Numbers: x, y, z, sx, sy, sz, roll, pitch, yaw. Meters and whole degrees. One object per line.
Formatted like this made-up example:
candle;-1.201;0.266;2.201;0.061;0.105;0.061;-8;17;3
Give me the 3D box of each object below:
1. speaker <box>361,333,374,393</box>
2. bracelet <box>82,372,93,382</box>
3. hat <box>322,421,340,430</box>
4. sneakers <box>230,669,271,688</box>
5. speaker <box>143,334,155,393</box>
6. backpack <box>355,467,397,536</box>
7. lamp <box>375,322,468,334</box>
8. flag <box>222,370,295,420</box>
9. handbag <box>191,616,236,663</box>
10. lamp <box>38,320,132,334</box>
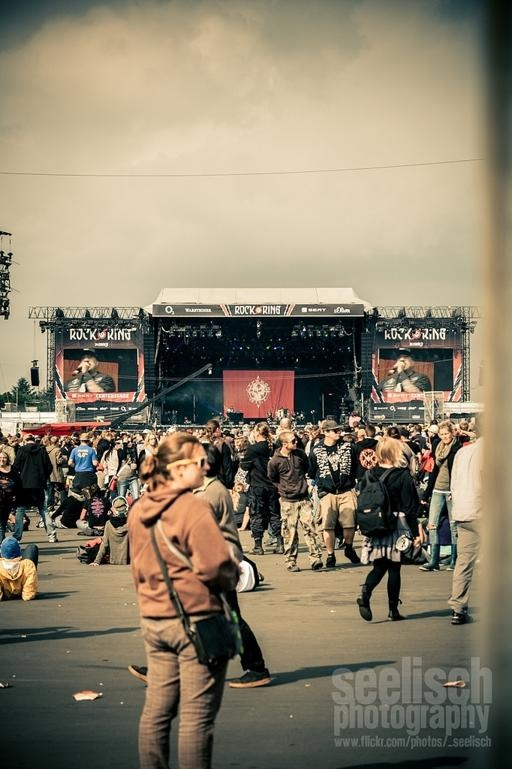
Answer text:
speaker;4.489;-0.799;49.501;0.781;2.596;0.301;0;0;-41
bracelet;-6.981;-0.279;50.500;0.311;0.328;0.335;1;7;-1
hat;0.803;0.456;13.443;0.138;0.070;0.105;-19;-13;35
sneakers;-0.034;1.923;7.964;0.265;0.109;0.107;1;-8;1
speaker;-4.317;-0.826;49.591;0.457;2.659;0.918;0;0;-8
backpack;0.975;0.972;9.970;0.301;0.534;0.427;0;0;4
lamp;6.641;-2.231;50.021;3.471;0.920;0.748;0;0;-8
flag;0.107;0.527;57.694;2.487;1.720;0.041;0;1;3
handbag;-0.208;1.180;5.637;0.219;0.201;0.105;0;-15;-37
lamp;-7.025;-2.358;50.646;3.805;0.514;0.455;0;0;5
